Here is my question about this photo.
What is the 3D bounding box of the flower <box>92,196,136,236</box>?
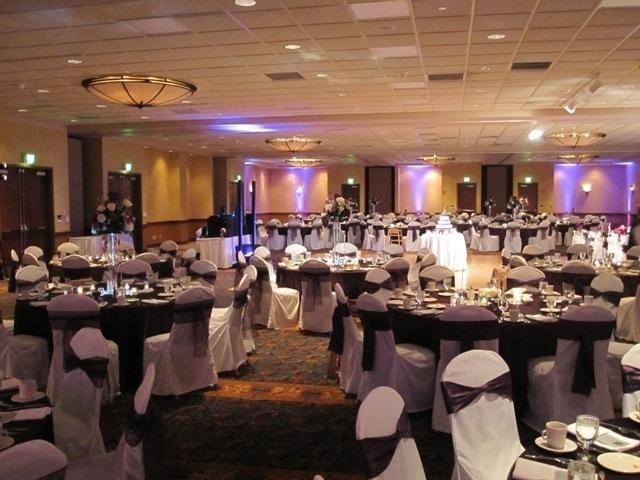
[{"bbox_3d":[-2.577,-0.256,6.229,0.458,0.438,0.477,17,3,-20],"label":"flower"}]

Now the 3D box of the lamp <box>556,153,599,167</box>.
[{"bbox_3d":[10.507,-3.325,20.429,1.428,0.415,2.308,4,10,25],"label":"lamp"}]

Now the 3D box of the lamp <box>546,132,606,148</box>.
[{"bbox_3d":[6.968,-2.765,13.677,1.372,0.390,1.131,3,10,24],"label":"lamp"}]

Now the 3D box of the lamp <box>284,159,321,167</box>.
[{"bbox_3d":[-0.782,-3.255,20.997,1.276,0.407,1.801,-2,9,-7],"label":"lamp"}]

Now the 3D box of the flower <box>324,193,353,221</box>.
[{"bbox_3d":[0.275,-0.507,8.293,0.346,0.482,0.251,-1,47,-5],"label":"flower"}]

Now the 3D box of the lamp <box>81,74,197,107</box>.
[{"bbox_3d":[-2.981,-2.454,8.307,1.767,0.478,0.738,-3,10,-16],"label":"lamp"}]

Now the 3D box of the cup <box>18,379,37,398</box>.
[{"bbox_3d":[-2.073,1.066,3.582,0.105,0.112,0.137,-2,-8,38],"label":"cup"}]

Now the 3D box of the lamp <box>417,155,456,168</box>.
[{"bbox_3d":[4.803,-3.335,20.920,0.907,0.326,0.906,0,2,3],"label":"lamp"}]

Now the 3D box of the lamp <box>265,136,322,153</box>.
[{"bbox_3d":[-0.788,-2.782,14.473,1.413,0.418,1.278,-5,10,-26],"label":"lamp"}]

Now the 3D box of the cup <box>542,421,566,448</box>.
[{"bbox_3d":[1.337,1.108,2.842,0.110,0.122,0.136,-1,-2,-1],"label":"cup"}]

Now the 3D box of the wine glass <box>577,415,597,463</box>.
[{"bbox_3d":[1.432,1.052,2.691,0.102,0.239,0.237,4,11,28],"label":"wine glass"}]
